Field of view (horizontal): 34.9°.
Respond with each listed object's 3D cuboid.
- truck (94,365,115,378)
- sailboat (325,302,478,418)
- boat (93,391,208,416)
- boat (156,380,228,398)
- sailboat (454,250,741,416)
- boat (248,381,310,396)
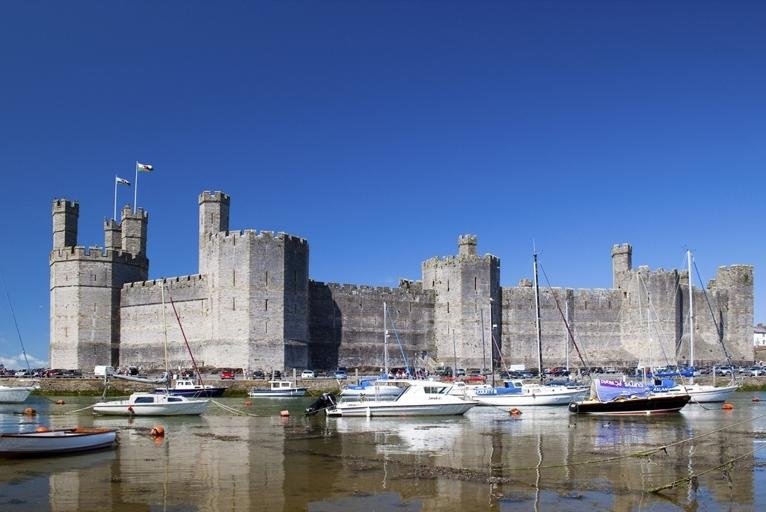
[{"bbox_3d":[-18.428,7.566,79.867,1.484,0.666,1.460,2,-3,-40],"label":"truck"},{"bbox_3d":[1.199,7.257,60.780,6.696,1.694,1.348,-1,12,-3],"label":"sailboat"},{"bbox_3d":[-11.823,7.566,61.608,5.293,1.207,1.180,0,11,-1],"label":"boat"},{"bbox_3d":[-10.907,7.708,69.733,4.755,1.110,1.262,-1,-5,0],"label":"boat"},{"bbox_3d":[17.534,5.416,89.783,14.867,7.428,13.871,-2,-6,25],"label":"sailboat"},{"bbox_3d":[-6.388,8.094,74.023,3.527,0.912,1.151,-2,-6,2],"label":"boat"}]
